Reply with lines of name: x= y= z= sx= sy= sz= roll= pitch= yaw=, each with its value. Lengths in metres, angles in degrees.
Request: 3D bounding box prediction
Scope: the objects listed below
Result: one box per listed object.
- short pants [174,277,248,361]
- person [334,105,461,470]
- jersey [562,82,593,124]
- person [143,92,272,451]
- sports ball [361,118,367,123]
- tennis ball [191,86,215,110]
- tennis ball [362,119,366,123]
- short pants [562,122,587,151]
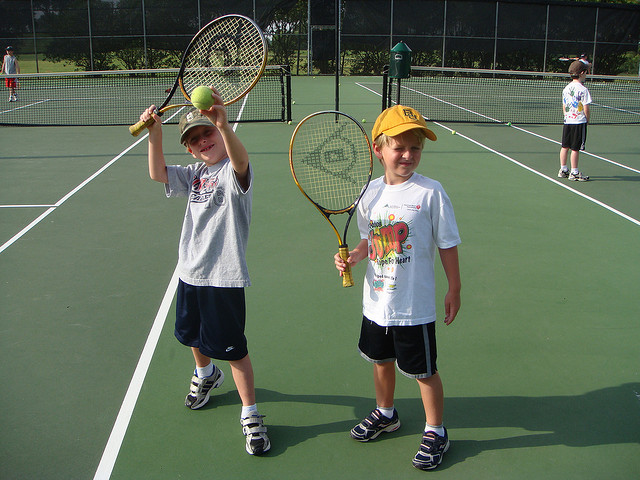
short pants: x=-0.761 y=0.552 z=3.958 sx=0.521 sy=0.593 sz=0.315 roll=10 pitch=15 yaw=21
person: x=0.566 y=0.318 z=3.847 sx=0.762 sy=2.403 sz=0.436 roll=4 pitch=11 yaw=16
jersey: x=4.168 y=-2.225 z=9.147 sx=0.403 sy=0.665 sz=0.274 roll=8 pitch=13 yaw=31
person: x=-0.862 y=0.156 z=4.265 sx=0.825 sy=2.463 sz=1.354 roll=-2 pitch=11 yaw=-15
sports ball: x=1.116 y=-3.014 z=14.181 sx=0.126 sy=0.085 sz=0.138 roll=1 pitch=-13 yaw=0
tennis ball: x=-0.737 y=-0.891 z=3.561 sx=0.126 sy=0.148 sz=0.133 roll=1 pitch=-29 yaw=1
tennis ball: x=1.112 y=-3.006 z=14.154 sx=0.058 sy=0.120 sz=0.117 roll=18 pitch=48 yaw=16
short pants: x=4.182 y=-1.705 z=9.232 sx=0.282 sy=0.586 sz=0.377 roll=-18 pitch=26 yaw=-37
